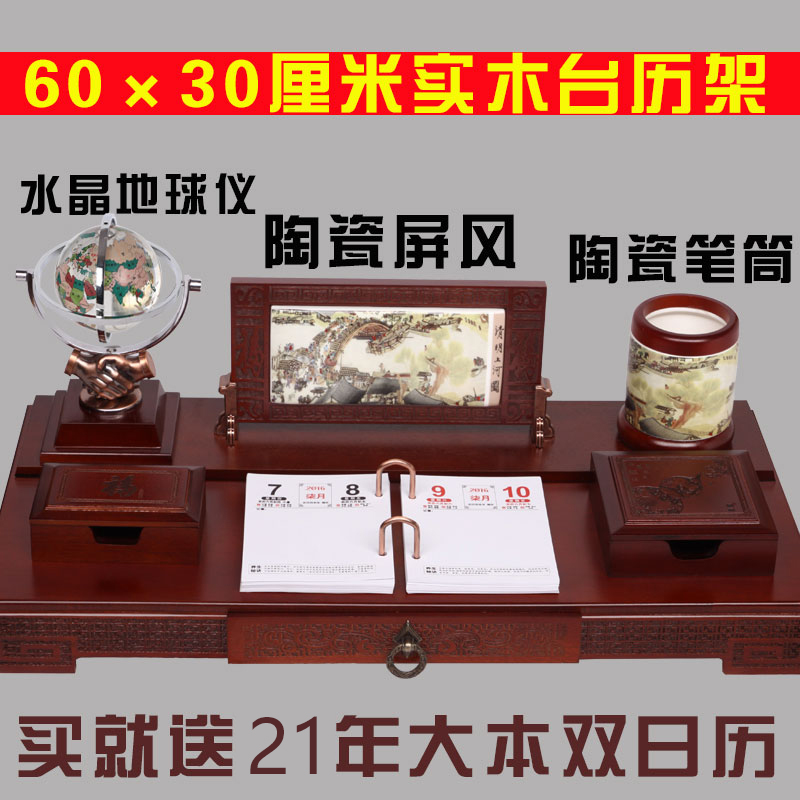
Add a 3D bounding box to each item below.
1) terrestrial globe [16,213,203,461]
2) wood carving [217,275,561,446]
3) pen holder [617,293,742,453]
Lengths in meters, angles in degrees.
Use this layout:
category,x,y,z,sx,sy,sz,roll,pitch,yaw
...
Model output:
category,x,y,z,sx,sy,sz,roll,pitch,yaw
terrestrial globe,-0.948,-0.211,2.547,0.569,0.681,0.469,-4,25,-24
wood carving,-0.062,-0.110,2.635,1.113,0.584,0.106,-1,15,-1
pen holder,0.937,-0.079,2.712,0.420,0.401,0.386,4,32,15
